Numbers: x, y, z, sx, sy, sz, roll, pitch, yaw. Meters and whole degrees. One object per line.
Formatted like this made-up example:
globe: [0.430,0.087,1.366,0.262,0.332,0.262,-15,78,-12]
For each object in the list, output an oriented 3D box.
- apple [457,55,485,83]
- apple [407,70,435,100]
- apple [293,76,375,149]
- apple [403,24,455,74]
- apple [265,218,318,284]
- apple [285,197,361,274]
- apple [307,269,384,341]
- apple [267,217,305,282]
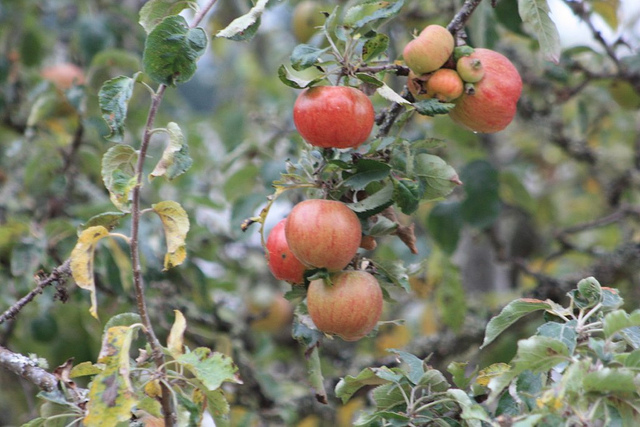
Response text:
apple: [0.424,-0.406,2.324,0.066,0.066,0.073,-5,75,-20]
apple: [0.280,-0.366,2.351,0.070,0.088,0.080,2,102,-5]
apple: [0.034,-0.263,2.305,0.175,0.185,0.194,-3,86,10]
apple: [0.307,-0.468,2.390,0.114,0.128,0.126,40,102,-13]
apple: [-0.098,0.132,2.375,0.162,0.171,0.214,-1,67,1]
apple: [0.008,0.104,2.364,0.195,0.234,0.250,-6,46,7]
apple: [0.065,0.242,2.386,0.212,0.225,0.224,6,90,41]
apple: [-0.104,0.113,2.362,0.147,0.154,0.193,0,87,-1]
